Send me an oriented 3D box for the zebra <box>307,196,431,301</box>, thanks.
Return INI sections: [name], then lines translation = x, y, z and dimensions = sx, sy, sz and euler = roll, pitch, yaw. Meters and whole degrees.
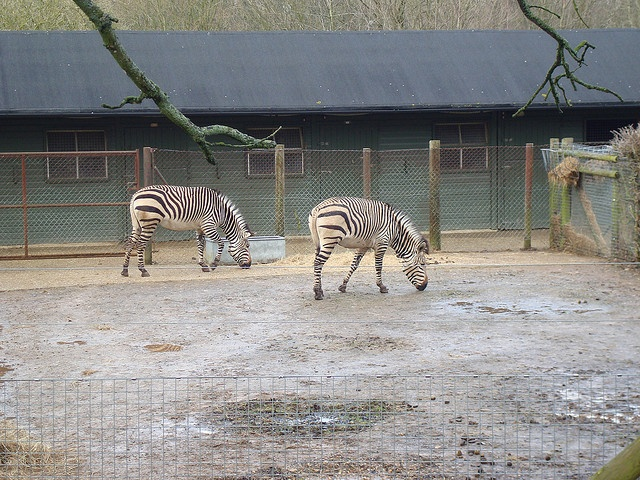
[zebra]
translation = 0.941, 0.170, 22.901
dimensions = 2.837, 1.684, 0.760
euler = 1, -2, -31
